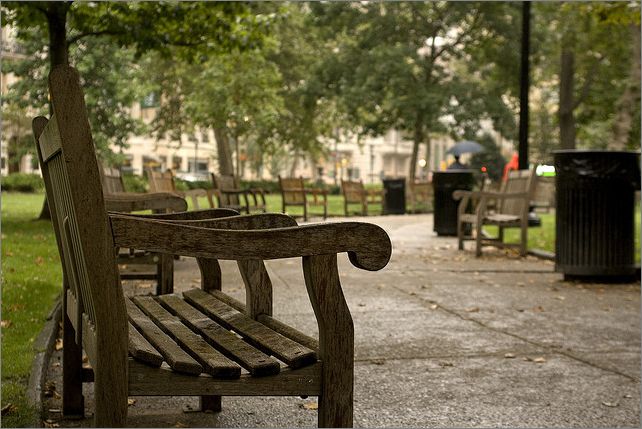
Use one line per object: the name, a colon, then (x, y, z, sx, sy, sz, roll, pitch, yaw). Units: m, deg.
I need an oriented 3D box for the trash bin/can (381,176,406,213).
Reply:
trash bin/can: (2.299, -0.554, 28.655, 0.990, 1.626, 1.024, 0, 3, 17)
